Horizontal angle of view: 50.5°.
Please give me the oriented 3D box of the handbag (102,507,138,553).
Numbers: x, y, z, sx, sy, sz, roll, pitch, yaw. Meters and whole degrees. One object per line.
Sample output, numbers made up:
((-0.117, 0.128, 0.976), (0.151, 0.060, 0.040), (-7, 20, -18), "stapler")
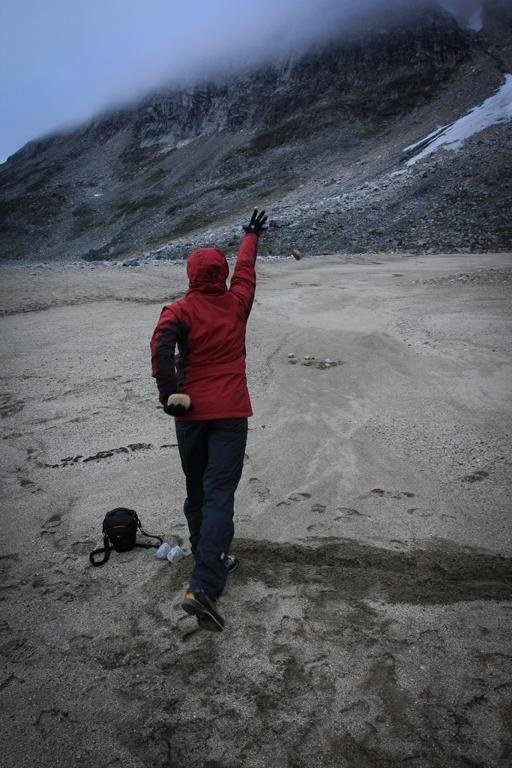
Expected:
((-0.886, 0.990, 3.764), (0.206, 0.275, 0.276), (1, 21, 0), "handbag")

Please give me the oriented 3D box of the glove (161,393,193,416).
((-0.419, 0.107, 2.944), (0.101, 0.123, 0.129), (18, 31, 41), "glove")

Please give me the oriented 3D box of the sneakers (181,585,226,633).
((-0.247, 1.108, 2.711), (0.116, 0.308, 0.150), (-24, 25, 30), "sneakers")

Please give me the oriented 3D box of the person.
((-0.296, 0.205, 2.967), (0.523, 1.786, 1.105), (0, 17, 3), "person")
